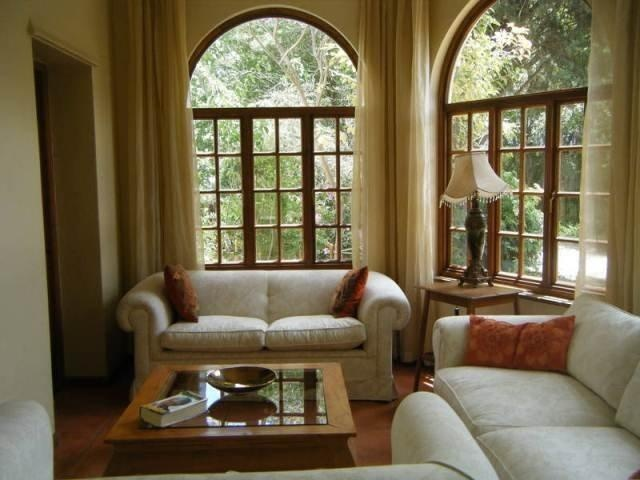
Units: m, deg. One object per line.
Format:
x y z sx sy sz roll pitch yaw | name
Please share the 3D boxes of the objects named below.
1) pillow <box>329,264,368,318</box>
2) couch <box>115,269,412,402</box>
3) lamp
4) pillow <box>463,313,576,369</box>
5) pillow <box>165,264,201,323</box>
0.177 0.461 4.733 0.267 0.516 0.534 0 9 -25 | pillow
-0.478 0.790 4.665 2.311 1.116 1.031 0 -3 -5 | couch
1.323 -0.187 4.419 0.517 1.108 0.726 2 7 30 | lamp
1.292 0.650 3.521 0.593 0.385 0.205 2 9 12 | pillow
-1.217 0.447 4.728 0.251 0.487 0.566 -7 4 -5 | pillow
